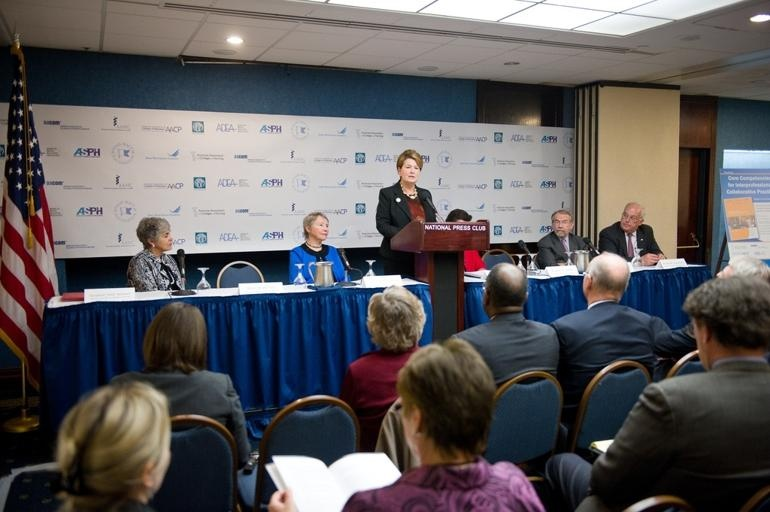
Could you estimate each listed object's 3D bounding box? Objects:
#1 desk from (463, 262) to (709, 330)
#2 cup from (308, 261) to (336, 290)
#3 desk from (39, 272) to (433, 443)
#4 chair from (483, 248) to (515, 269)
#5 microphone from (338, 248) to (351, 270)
[{"bbox_3d":[1.837,0.471,5.354,2.264,0.666,0.362,-4,17,5],"label":"desk"},{"bbox_3d":[-0.506,0.158,4.490,0.220,0.242,0.160,-1,-1,3],"label":"cup"},{"bbox_3d":[-1.128,0.629,4.406,2.575,0.992,0.801,-1,22,-26],"label":"desk"},{"bbox_3d":[1.122,0.025,5.782,0.188,0.296,0.195,-2,-3,-9],"label":"chair"},{"bbox_3d":[-0.373,0.026,5.239,0.041,0.236,0.041,-8,-20,3],"label":"microphone"}]
